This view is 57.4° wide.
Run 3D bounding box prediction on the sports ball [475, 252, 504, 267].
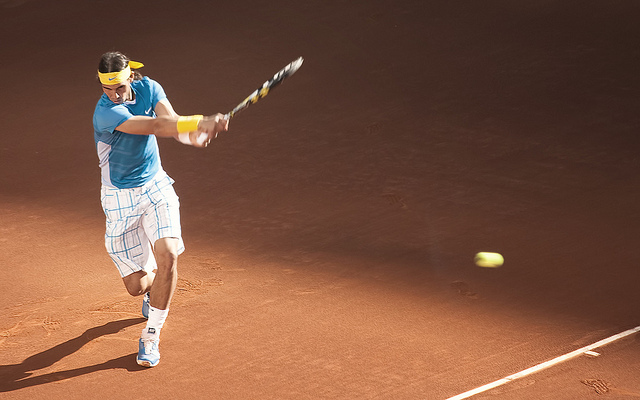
[{"bbox_3d":[2.009,0.713,6.971,0.330,0.163,0.163,10,-3,11],"label":"sports ball"}]
